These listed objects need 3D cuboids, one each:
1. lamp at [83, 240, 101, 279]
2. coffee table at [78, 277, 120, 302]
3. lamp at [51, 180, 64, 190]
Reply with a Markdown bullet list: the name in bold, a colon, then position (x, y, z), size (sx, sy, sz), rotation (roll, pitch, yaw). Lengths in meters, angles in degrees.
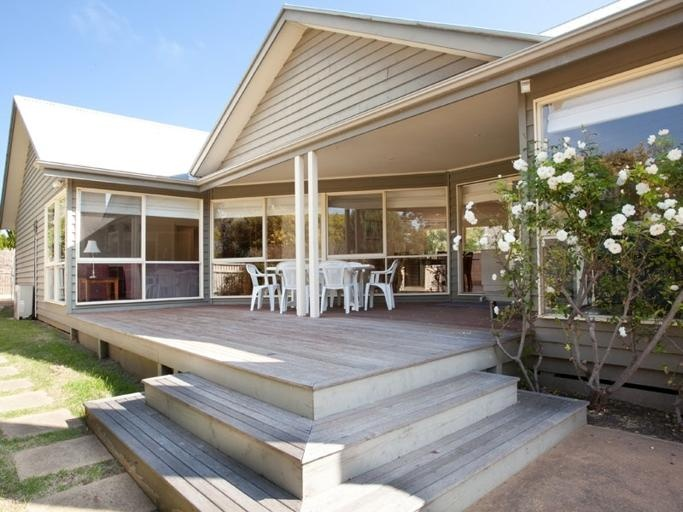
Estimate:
- **lamp**: position (-4.519, 0.067, 8.467), size (0.263, 0.686, 0.145), rotation (-3, 16, -39)
- **coffee table**: position (-4.483, 0.593, 8.644), size (0.540, 0.372, 0.423), rotation (1, -4, -40)
- **lamp**: position (-5.135, -1.297, 8.503), size (0.245, 0.096, 0.327), rotation (-22, 10, -8)
